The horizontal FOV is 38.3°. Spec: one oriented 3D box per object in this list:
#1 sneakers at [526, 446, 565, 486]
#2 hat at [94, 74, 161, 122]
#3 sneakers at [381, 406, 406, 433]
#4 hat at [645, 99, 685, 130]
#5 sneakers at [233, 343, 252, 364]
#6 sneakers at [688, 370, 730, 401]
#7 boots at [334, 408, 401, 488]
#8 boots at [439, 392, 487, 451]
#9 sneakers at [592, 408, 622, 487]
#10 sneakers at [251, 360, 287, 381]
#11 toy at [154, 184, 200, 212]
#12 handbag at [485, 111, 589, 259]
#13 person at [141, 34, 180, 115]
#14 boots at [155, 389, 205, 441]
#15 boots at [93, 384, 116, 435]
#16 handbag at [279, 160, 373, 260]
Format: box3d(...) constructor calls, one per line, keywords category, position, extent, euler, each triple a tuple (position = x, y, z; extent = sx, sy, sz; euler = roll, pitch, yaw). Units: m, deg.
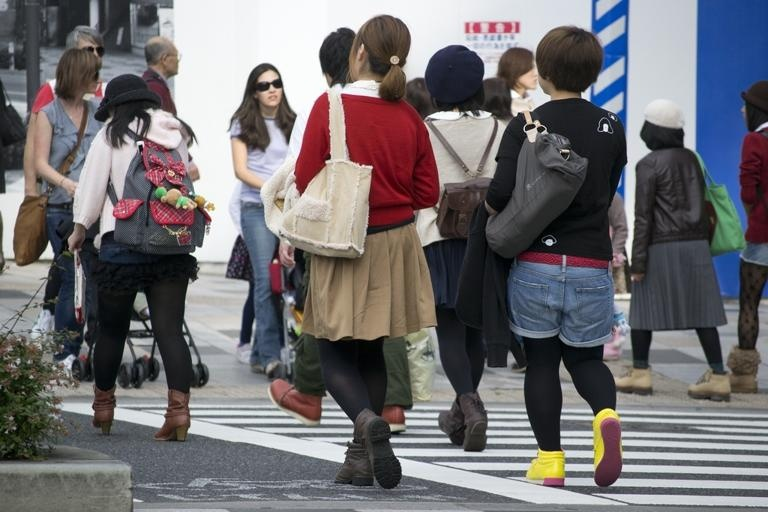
box3d(category="sneakers", position=(1.175, 1.521, 7.987), extent=(0.135, 0.179, 0.392), euler=(1, 2, -9))
box3d(category="hat", position=(-2.052, -1.349, 9.079), extent=(0.577, 0.266, 0.527), euler=(-15, 8, -11))
box3d(category="sneakers", position=(0.117, 1.361, 9.219), extent=(0.124, 0.248, 0.346), euler=(0, 4, -6))
box3d(category="hat", position=(2.800, -1.409, 11.043), extent=(0.327, 0.205, 0.286), euler=(10, 9, 39))
box3d(category="sneakers", position=(-1.471, 1.064, 12.060), extent=(0.126, 0.132, 0.308), euler=(-1, 3, -7))
box3d(category="sneakers", position=(3.302, 1.310, 11.157), extent=(0.406, 0.301, 0.229), euler=(5, 5, 34))
box3d(category="boots", position=(-0.080, 1.340, 7.676), extent=(0.250, 0.581, 0.509), euler=(-1, 5, -29))
box3d(category="boots", position=(0.676, 1.302, 8.788), extent=(0.212, 0.366, 0.624), euler=(-4, 11, -10))
box3d(category="sneakers", position=(1.523, 1.314, 7.643), extent=(0.172, 0.549, 0.223), euler=(-5, 19, -4))
box3d(category="sneakers", position=(-1.135, 1.176, 11.346), extent=(0.483, 0.230, 0.187), euler=(-5, -9, 27))
box3d(category="toy", position=(-1.612, -0.430, 8.817), extent=(0.244, 0.102, 0.187), euler=(16, 23, -26))
box3d(category="handbag", position=(1.067, -0.455, 7.641), extent=(0.337, 0.766, 0.835), euler=(17, -24, -30))
box3d(category="person", position=(-2.378, -1.903, 11.923), extent=(0.502, 0.918, 1.016), euler=(-2, 20, -15))
box3d(category="boots", position=(-1.680, 1.297, 8.948), extent=(0.181, 0.412, 0.400), euler=(10, -17, -43))
box3d(category="boots", position=(-2.268, 1.230, 9.154), extent=(0.170, 0.412, 0.462), euler=(-2, 8, -21))
box3d(category="handbag", position=(-0.358, -0.314, 7.807), extent=(0.634, 0.718, 0.374), euler=(6, -6, 32))
